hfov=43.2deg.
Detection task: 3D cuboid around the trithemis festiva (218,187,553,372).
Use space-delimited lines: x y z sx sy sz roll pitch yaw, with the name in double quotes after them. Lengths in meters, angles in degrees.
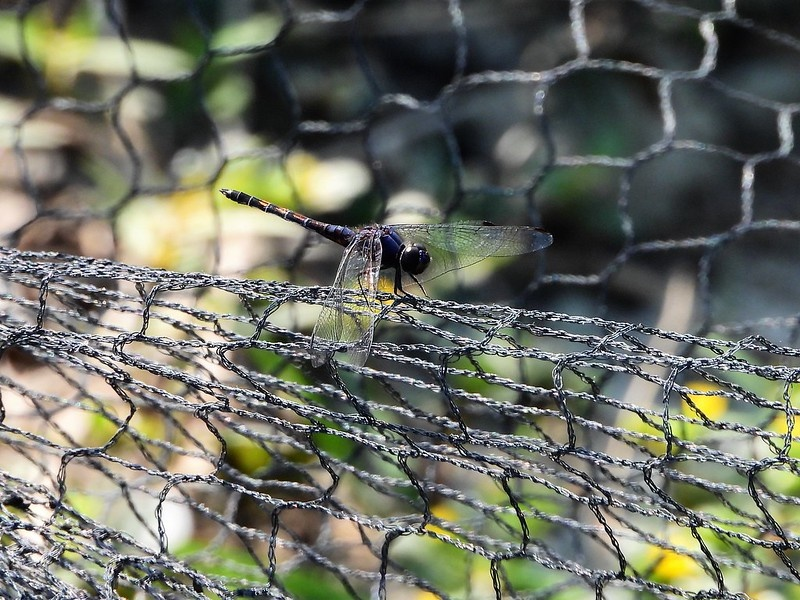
-0.087 -0.044 2.249 0.401 0.408 0.071 17 -60 26 "trithemis festiva"
